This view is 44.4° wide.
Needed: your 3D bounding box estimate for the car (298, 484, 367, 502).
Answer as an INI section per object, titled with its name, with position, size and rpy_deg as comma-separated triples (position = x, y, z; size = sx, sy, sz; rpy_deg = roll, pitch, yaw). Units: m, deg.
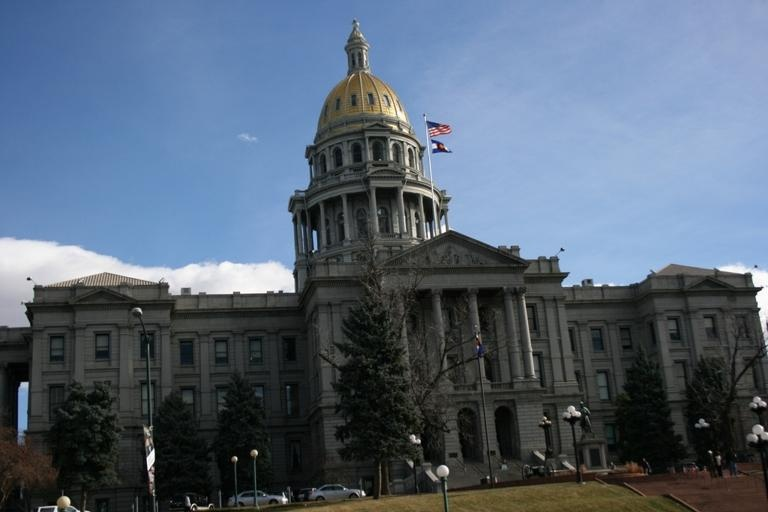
[car]
position = -4.632, 20.401, 81.645
size = 4.880, 1.412, 4.046
rpy_deg = -15, -20, 37
